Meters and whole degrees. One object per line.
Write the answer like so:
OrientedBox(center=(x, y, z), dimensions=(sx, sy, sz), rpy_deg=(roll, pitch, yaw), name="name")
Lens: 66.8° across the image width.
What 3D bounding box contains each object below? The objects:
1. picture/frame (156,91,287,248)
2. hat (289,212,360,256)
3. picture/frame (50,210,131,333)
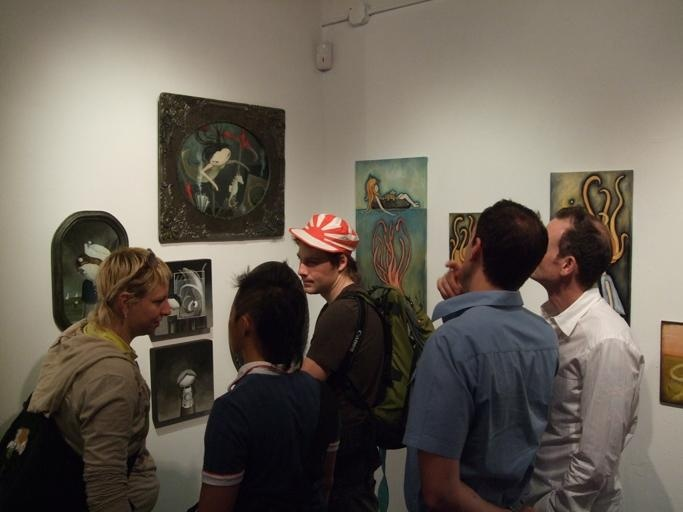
OrientedBox(center=(-0.783, -0.544, 3.219), dimensions=(0.066, 0.962, 0.904), rpy_deg=(1, 2, 45), name="picture/frame")
OrientedBox(center=(-0.070, -0.112, 2.567), dimensions=(0.245, 0.129, 0.206), rpy_deg=(18, 2, -19), name="hat")
OrientedBox(center=(-1.383, 0.093, 2.815), dimensions=(0.041, 0.704, 0.378), rpy_deg=(26, 26, 31), name="picture/frame")
